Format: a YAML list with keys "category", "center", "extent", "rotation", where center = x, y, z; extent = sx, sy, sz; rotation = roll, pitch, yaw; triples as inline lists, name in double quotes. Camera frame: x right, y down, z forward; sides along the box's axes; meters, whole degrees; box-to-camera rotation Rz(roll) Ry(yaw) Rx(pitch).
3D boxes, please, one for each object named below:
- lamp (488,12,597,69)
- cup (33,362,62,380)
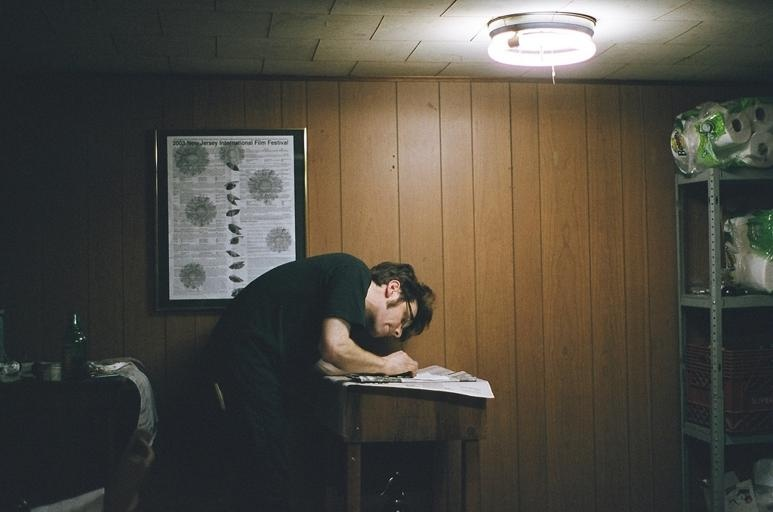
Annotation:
- category: "lamp"
  center: [0.817, -1.129, 3.706]
  extent: [0.508, 0.112, 0.521]
  rotation: [26, 37, 28]
- category: "cup"
  center: [-1.702, 0.571, 3.640]
  extent: [0.119, 0.082, 0.082]
  rotation: [0, 3, -1]
